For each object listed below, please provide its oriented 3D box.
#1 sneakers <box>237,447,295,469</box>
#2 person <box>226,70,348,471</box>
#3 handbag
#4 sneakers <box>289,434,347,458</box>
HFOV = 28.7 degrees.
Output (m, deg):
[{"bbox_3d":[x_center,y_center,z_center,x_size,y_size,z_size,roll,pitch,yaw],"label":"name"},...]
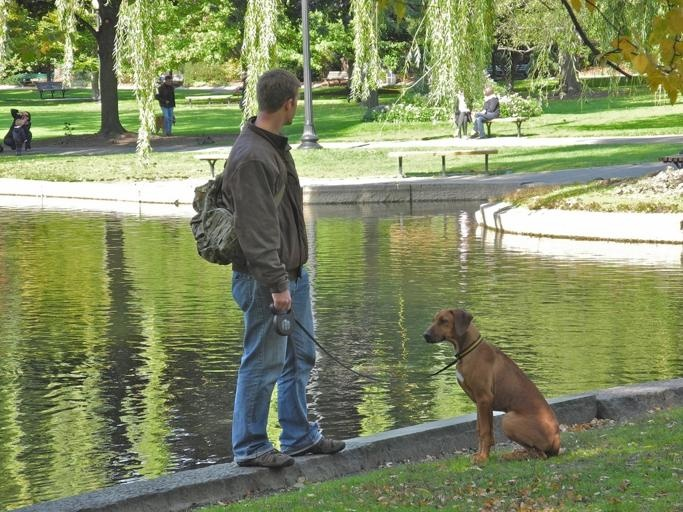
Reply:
[{"bbox_3d":[-0.608,1.672,11.112,0.486,0.182,0.162,-3,5,5],"label":"sneakers"},{"bbox_3d":[-0.557,0.108,11.018,0.775,3.256,0.555,-8,7,-38],"label":"person"},{"bbox_3d":[-1.058,-0.300,11.013,0.327,0.672,0.521,-1,-10,-14],"label":"handbag"},{"bbox_3d":[-0.206,1.582,11.340,0.472,0.183,0.174,-9,6,-3],"label":"sneakers"}]
